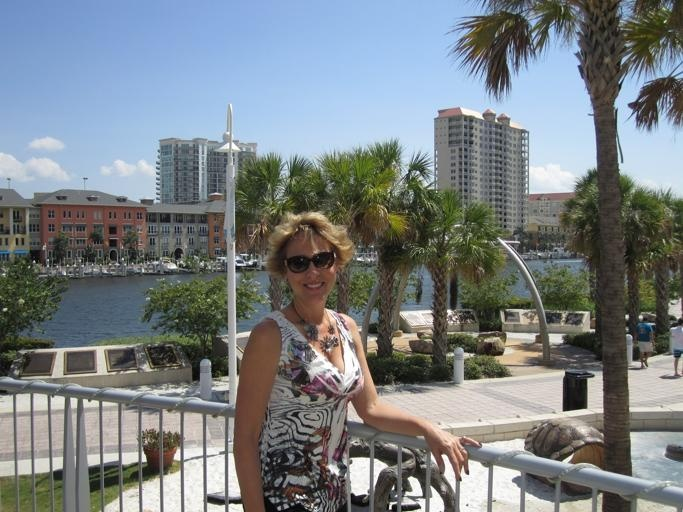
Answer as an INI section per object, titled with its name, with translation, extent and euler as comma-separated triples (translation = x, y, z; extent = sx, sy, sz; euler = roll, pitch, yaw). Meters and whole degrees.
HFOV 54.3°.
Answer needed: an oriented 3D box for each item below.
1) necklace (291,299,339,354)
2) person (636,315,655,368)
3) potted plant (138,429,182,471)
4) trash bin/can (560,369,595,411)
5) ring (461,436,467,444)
[necklace]
translation = -0.192, 0.544, 5.362
extent = 0.291, 0.452, 0.143
euler = -39, -15, 16
[person]
translation = 9.571, 2.777, 20.998
extent = 0.466, 1.305, 0.763
euler = 2, 0, 25
[potted plant]
translation = -3.308, 3.441, 12.045
extent = 0.570, 0.758, 0.665
euler = 7, 7, 2
[trash bin/can]
translation = 5.175, 2.972, 14.660
extent = 0.564, 0.808, 0.610
euler = 2, -1, 23
[ring]
translation = 0.965, 1.454, 5.280
extent = 0.040, 0.061, 0.018
euler = -5, -35, 5
